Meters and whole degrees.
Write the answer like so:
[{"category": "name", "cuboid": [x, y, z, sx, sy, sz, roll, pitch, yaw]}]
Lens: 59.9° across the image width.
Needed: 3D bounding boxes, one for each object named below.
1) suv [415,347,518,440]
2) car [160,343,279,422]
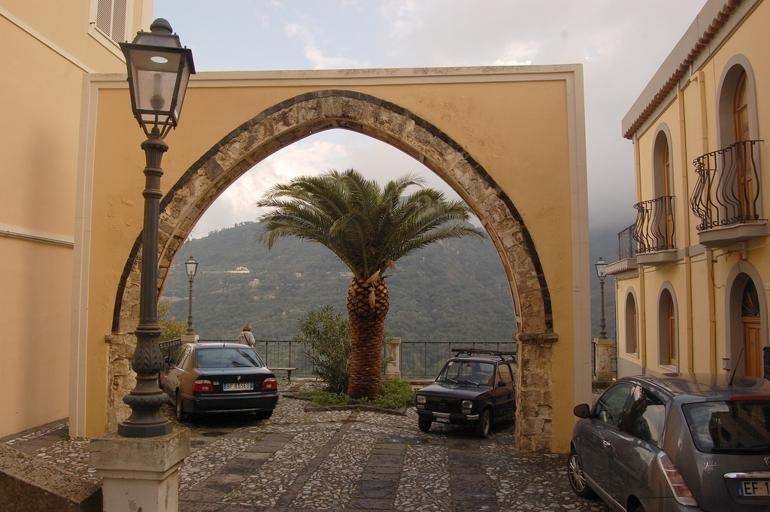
[{"category": "suv", "cuboid": [1.900, 3.071, 15.255, 1.414, 1.200, 2.494, -6, -14, 33]}, {"category": "car", "cuboid": [-3.636, 2.742, 14.881, 1.361, 1.003, 3.034, 2, -2, -25]}]
